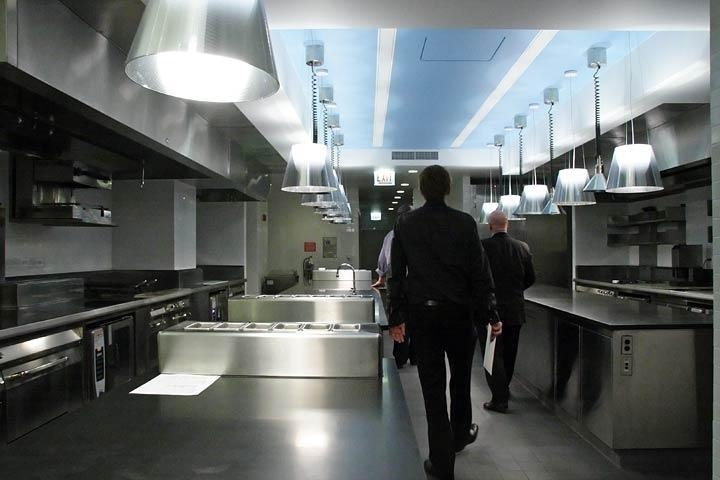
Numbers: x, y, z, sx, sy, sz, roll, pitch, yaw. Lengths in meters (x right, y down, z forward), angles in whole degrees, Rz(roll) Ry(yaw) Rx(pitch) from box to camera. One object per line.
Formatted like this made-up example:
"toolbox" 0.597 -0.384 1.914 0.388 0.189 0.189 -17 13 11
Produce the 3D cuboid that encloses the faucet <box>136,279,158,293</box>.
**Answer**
"faucet" -2.502 0.552 5.910 0.219 0.198 0.130 1 -1 3

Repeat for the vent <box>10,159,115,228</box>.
"vent" -3.056 -0.491 5.236 0.592 0.650 0.998 0 2 -9

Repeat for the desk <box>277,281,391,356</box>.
"desk" -0.234 0.690 4.997 1.009 0.372 1.408 2 14 6

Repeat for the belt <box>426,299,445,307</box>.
"belt" 0.523 0.450 3.525 0.113 0.046 0.013 1 14 3

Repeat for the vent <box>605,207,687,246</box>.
"vent" 4.422 -0.170 7.862 0.335 0.501 1.368 1 -3 -8

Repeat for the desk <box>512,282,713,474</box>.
"desk" 2.255 1.133 4.402 0.850 1.244 1.655 -2 14 -11

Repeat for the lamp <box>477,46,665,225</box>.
"lamp" 2.651 -1.298 6.221 1.856 1.393 0.489 -2 -6 12
